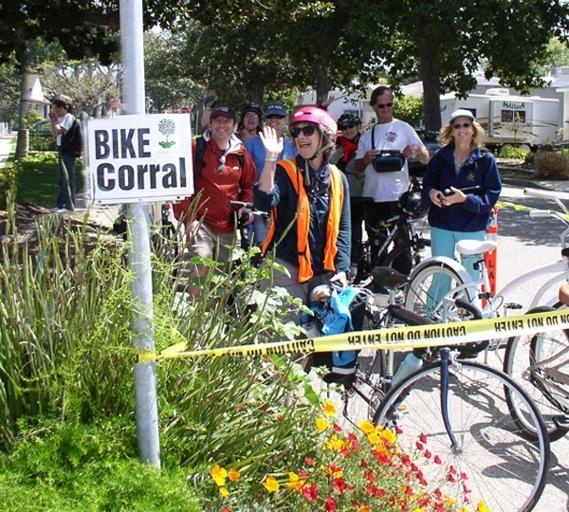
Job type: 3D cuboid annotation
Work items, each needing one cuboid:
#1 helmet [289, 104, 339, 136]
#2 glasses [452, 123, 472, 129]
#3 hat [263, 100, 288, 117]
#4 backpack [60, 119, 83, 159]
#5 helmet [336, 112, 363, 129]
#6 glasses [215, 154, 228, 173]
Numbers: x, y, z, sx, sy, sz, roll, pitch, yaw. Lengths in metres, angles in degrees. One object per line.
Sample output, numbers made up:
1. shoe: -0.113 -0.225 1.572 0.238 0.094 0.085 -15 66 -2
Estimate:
1. helmet: 0.194 -0.840 3.826 0.237 0.139 0.171 -3 13 -44
2. glasses: 1.505 -1.097 5.269 0.141 0.055 0.068 3 6 15
3. hat: -0.089 -1.668 7.038 0.213 0.173 0.335 1 1 8
4. backpack: -3.921 -2.167 11.450 0.346 0.739 0.760 0 6 -20
5. helmet: 0.766 -1.597 7.411 0.209 0.139 0.323 -7 25 16
6. glasses: -0.521 -0.769 5.225 0.052 0.132 0.074 13 -9 -26
